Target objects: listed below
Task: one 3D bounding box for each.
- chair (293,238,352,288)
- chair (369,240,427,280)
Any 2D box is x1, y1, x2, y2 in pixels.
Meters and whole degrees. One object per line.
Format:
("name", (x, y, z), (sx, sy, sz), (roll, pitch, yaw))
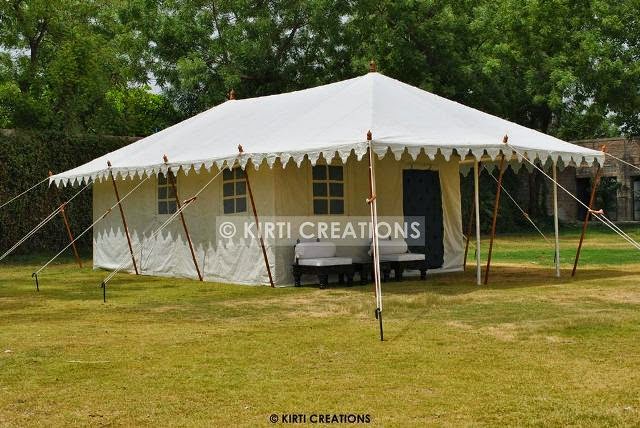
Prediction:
("chair", (0.068, 1.125, 19.333), (1.398, 0.947, 1.369), (0, 1, 15))
("chair", (1.827, 1.023, 20.054), (1.124, 0.937, 1.032), (2, -5, -38))
